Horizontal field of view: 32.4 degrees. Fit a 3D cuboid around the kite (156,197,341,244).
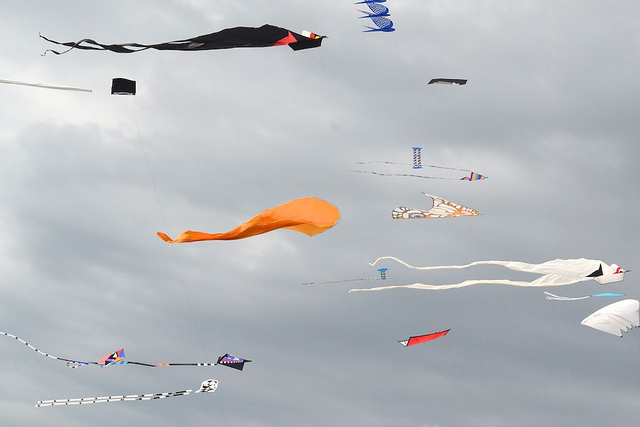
[{"bbox_3d":[-1.922,0.202,29.576,5.738,1.460,0.567,-1,-65,-6],"label":"kite"}]
